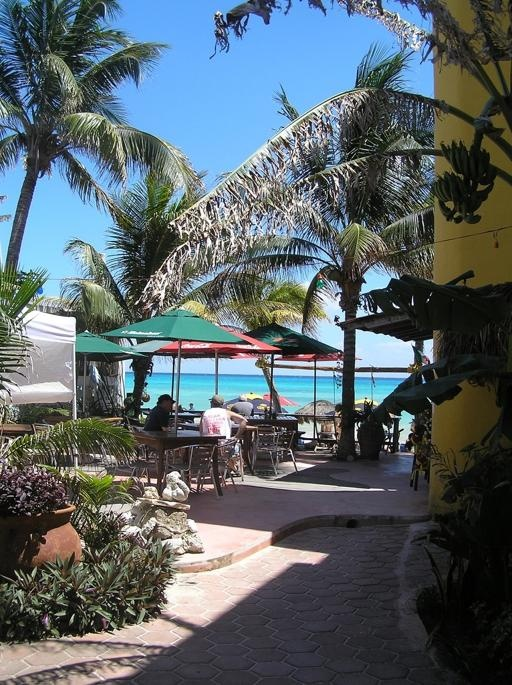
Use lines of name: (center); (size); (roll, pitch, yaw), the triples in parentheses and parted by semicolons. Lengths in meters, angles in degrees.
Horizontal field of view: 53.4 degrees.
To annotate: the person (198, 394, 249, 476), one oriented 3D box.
person: (-0.518, 1.606, 9.096); (0.796, 1.524, 0.848); (1, 7, 12)
